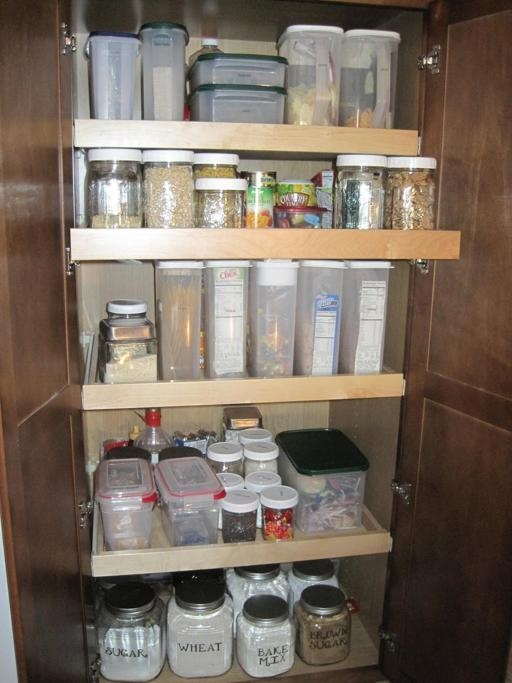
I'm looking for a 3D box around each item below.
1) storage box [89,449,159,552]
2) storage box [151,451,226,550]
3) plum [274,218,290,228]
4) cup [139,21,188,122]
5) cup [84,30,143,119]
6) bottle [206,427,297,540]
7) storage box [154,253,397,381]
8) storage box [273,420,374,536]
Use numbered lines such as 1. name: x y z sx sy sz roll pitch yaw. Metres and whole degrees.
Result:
1. storage box: -0.273 0.332 1.273 0.145 0.151 0.167 -1 10 -11
2. storage box: -0.147 0.330 1.300 0.138 0.139 0.198 -3 12 -19
3. plum: 0.056 -0.251 1.260 0.024 0.023 0.013 1 30 2
4. cup: -0.182 -0.540 1.230 0.099 0.198 0.091 -3 19 1
5. cup: -0.288 -0.511 1.218 0.140 0.229 0.151 -1 -1 0
6. bottle: -0.004 0.314 1.409 0.133 0.237 0.241 -6 17 -23
7. storage box: 0.038 -0.050 1.264 0.447 0.269 0.300 -3 21 -17
8. storage box: 0.159 0.321 1.463 0.153 0.136 0.222 -1 12 -6
